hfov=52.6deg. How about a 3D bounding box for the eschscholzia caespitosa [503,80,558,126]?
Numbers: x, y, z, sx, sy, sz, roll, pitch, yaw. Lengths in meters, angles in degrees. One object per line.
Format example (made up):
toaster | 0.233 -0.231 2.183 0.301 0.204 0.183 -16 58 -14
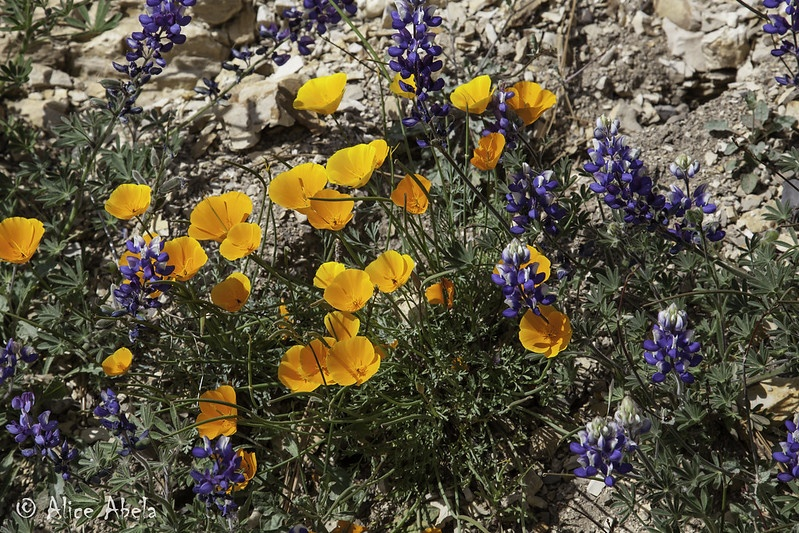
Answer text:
eschscholzia caespitosa | 0.741 -0.971 4.670 0.236 0.174 0.239 -45 82 -4

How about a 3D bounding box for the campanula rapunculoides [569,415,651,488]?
campanula rapunculoides | 0.978 0.871 3.896 0.265 0.235 0.431 11 75 8
